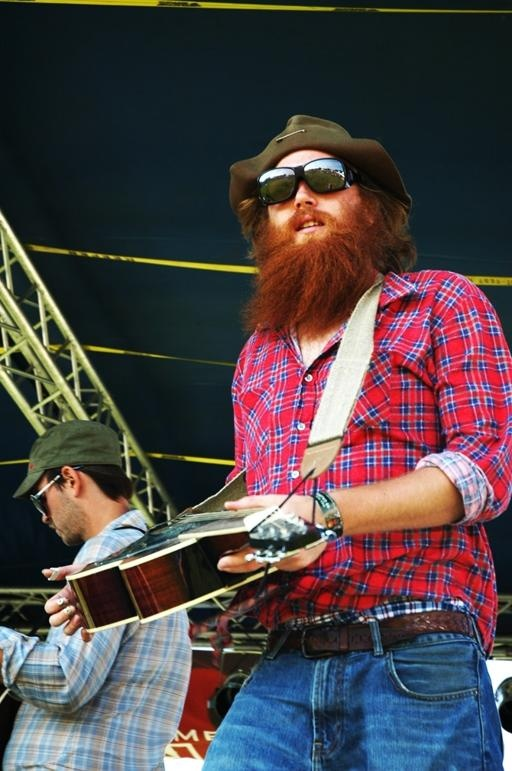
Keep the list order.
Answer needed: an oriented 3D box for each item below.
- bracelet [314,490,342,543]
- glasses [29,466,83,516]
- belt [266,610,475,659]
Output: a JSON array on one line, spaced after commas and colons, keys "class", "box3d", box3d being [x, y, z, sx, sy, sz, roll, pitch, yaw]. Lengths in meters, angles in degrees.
[{"class": "bracelet", "box3d": [0.162, 0.281, 1.846, 0.044, 0.093, 0.082, -18, 12, 2]}, {"class": "glasses", "box3d": [-1.047, 0.501, 4.103, 0.319, 0.090, 0.216, -34, -11, -4]}, {"class": "belt", "box3d": [0.274, 0.610, 2.071, 0.371, 0.069, 0.178, -8, -17, 13]}]
